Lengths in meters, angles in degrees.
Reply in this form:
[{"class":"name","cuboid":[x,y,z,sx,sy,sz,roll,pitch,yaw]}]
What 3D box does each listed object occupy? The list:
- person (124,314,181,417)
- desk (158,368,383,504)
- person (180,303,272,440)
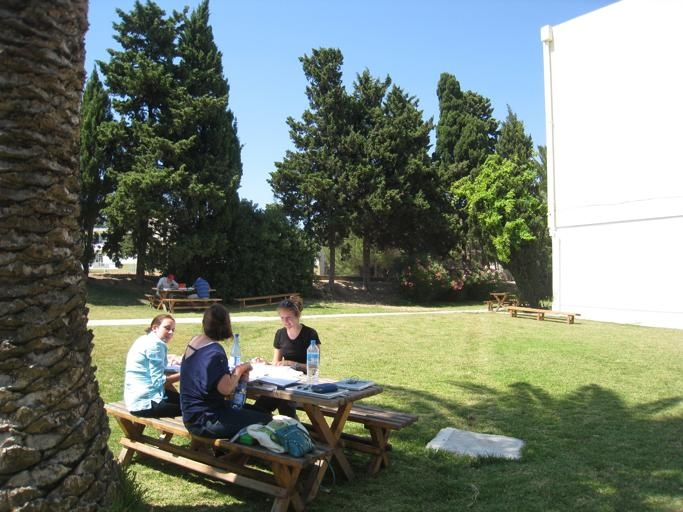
[{"class":"person","cuboid":[-2.197,1.362,6.992,0.765,1.178,0.886,-1,-8,21]},{"class":"desk","cuboid":[-0.541,2.030,6.253,2.020,1.100,1.224,3,-3,42]},{"class":"person","cuboid":[-1.281,1.291,6.435,0.956,1.418,1.044,-1,-4,24]}]
